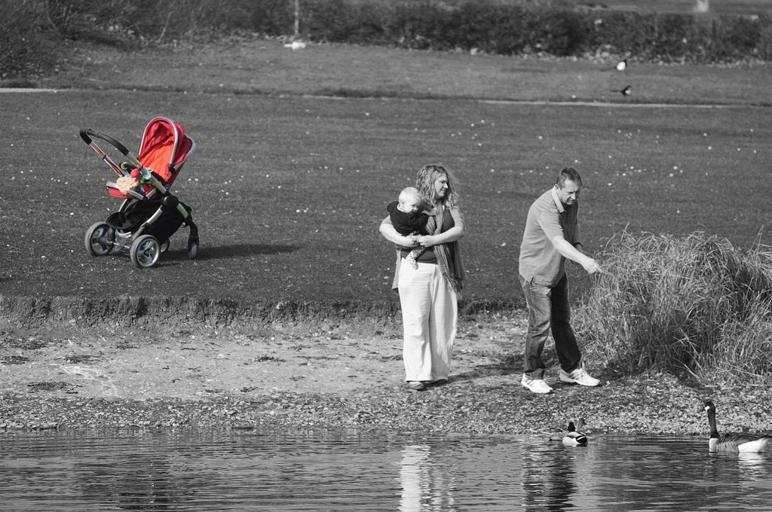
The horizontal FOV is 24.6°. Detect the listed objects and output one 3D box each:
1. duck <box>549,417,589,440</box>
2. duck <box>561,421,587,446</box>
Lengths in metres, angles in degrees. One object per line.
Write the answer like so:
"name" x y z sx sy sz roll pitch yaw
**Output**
"duck" 3.301 3.104 31.728 0.348 0.321 0.650 4 -2 -28
"duck" 3.330 3.138 31.429 0.454 0.400 0.589 3 28 5
